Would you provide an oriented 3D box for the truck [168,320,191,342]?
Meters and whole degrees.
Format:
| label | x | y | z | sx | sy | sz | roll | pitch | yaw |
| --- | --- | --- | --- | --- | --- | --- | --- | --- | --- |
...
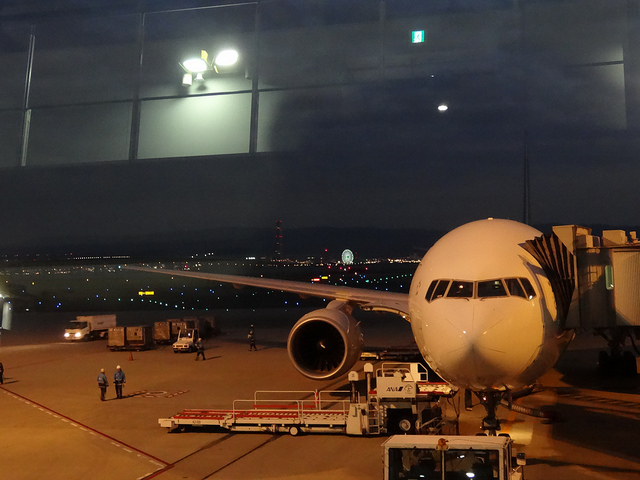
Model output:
| label | x | y | z | sx | sy | sz | roll | pitch | yaw |
| --- | --- | --- | --- | --- | --- | --- | --- | --- | --- |
| truck | -7.732 | 4.963 | 39.970 | 1.352 | 1.168 | 1.042 | -1 | -5 | 0 |

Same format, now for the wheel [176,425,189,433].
| label | x | y | z | sx | sy | sz | roll | pitch | yaw |
| --- | --- | --- | --- | --- | --- | --- | --- | --- | --- |
| wheel | -4.345 | 5.956 | 23.254 | 0.397 | 0.245 | 0.205 | 0 | -4 | 10 |

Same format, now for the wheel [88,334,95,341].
| label | x | y | z | sx | sy | sz | roll | pitch | yaw |
| --- | --- | --- | --- | --- | --- | --- | --- | --- | --- |
| wheel | -13.090 | 5.563 | 42.216 | 0.148 | 0.362 | 0.475 | -4 | -7 | 11 |

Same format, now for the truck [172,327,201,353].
| label | x | y | z | sx | sy | sz | roll | pitch | yaw |
| --- | --- | --- | --- | --- | --- | --- | --- | --- | --- |
| truck | -6.766 | 5.021 | 36.960 | 1.007 | 0.974 | 1.675 | -1 | -8 | 5 |

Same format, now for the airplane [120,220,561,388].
| label | x | y | z | sx | sy | sz | roll | pitch | yaw |
| --- | --- | --- | --- | --- | --- | --- | --- | --- | --- |
| airplane | 2.364 | 1.906 | 21.705 | 3.039 | 4.466 | 8.895 | 2 | -8 | -31 |

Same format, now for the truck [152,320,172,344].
| label | x | y | z | sx | sy | sz | roll | pitch | yaw |
| --- | --- | --- | --- | --- | --- | --- | --- | --- | --- |
| truck | -8.724 | 5.061 | 40.788 | 1.105 | 1.386 | 1.491 | -1 | -4 | 2 |

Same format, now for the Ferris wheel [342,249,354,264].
| label | x | y | z | sx | sy | sz | roll | pitch | yaw |
| --- | --- | --- | --- | --- | --- | --- | --- | --- | --- |
| Ferris wheel | 1.431 | 0.896 | 40.141 | 0.649 | 0.600 | 0.165 | -6 | 2 | -29 |

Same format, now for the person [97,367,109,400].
| label | x | y | z | sx | sy | sz | roll | pitch | yaw |
| --- | --- | --- | --- | --- | --- | --- | --- | --- | --- |
| person | -7.992 | 5.277 | 27.100 | 0.278 | 1.081 | 1.704 | 0 | -7 | -16 |

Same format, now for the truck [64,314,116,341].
| label | x | y | z | sx | sy | sz | roll | pitch | yaw |
| --- | --- | --- | --- | --- | --- | --- | --- | --- | --- |
| truck | -13.036 | 5.011 | 43.121 | 1.685 | 1.715 | 4.663 | -5 | -8 | 21 |
